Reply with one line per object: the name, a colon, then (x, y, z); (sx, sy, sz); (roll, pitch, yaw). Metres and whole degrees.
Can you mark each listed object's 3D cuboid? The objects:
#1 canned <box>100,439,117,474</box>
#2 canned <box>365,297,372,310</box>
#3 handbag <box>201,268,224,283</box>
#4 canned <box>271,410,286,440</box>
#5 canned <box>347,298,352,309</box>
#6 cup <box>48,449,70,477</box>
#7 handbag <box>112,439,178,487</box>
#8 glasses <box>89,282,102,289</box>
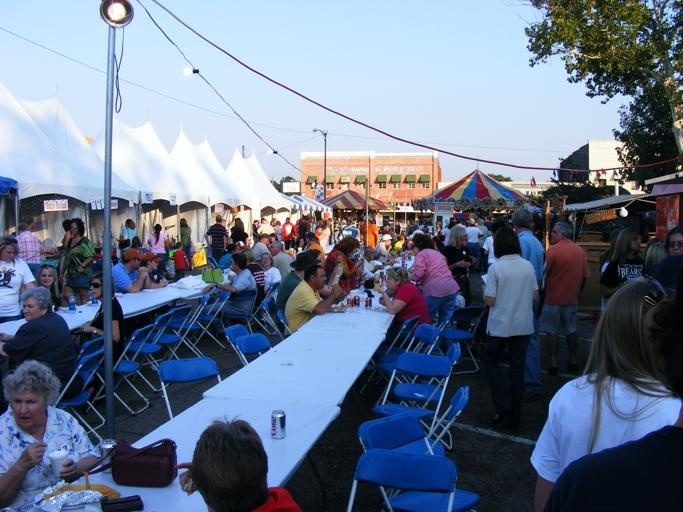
canned: (-1.488, 1.293, 4.190); (0.109, 0.213, 0.113); (6, 9, 14)
canned: (0.332, 0.622, 8.402); (0.091, 0.128, 0.101); (1, 2, 2)
handbag: (-2.070, 0.329, 10.576); (0.330, 0.273, 0.212); (4, -1, 19)
canned: (-0.436, 1.160, 4.526); (0.096, 0.169, 0.189); (-2, 4, -4)
canned: (0.111, 0.592, 8.124); (0.074, 0.098, 0.080); (-1, -4, 26)
cup: (-1.774, 1.302, 4.125); (0.103, 0.146, 0.133); (-5, 5, -44)
handbag: (-1.213, 1.287, 4.026); (0.321, 0.279, 0.252); (0, -7, 0)
glasses: (-3.173, 0.389, 8.498); (0.093, 0.043, 0.098); (5, -3, 38)
